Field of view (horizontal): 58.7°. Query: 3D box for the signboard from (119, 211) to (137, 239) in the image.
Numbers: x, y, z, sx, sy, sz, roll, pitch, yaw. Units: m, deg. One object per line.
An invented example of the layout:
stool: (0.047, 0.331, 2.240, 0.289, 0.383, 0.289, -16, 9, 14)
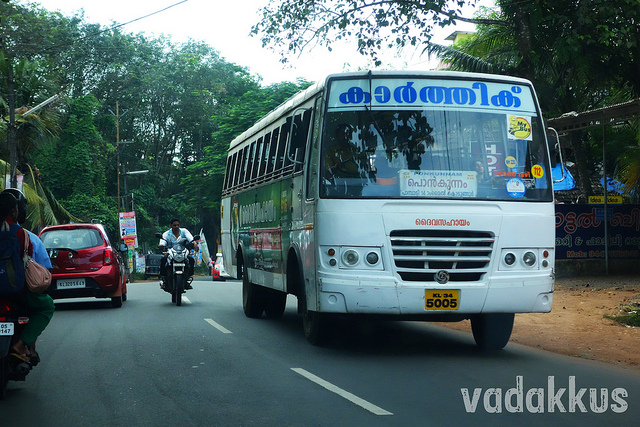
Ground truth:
signboard: (-12.785, 0.744, 37.486, 1.031, 1.751, 0.967, 0, -2, -12)

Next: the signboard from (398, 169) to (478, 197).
signboard: (1.746, -0.453, 8.308, 1.152, 0.374, 0.132, 0, -1, -8)

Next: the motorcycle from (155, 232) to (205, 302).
motorcycle: (-4.015, 1.641, 16.456, 1.009, 1.347, 2.037, 2, -9, -12)

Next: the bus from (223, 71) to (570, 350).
bus: (0.722, -0.018, 10.027, 3.203, 4.499, 5.618, 1, -2, -33)

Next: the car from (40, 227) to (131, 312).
car: (-6.418, 1.436, 16.195, 2.132, 1.875, 3.812, 0, -1, -5)

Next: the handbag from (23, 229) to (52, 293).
handbag: (-3.289, 0.643, 6.553, 0.275, 0.509, 0.111, 0, -2, -29)
